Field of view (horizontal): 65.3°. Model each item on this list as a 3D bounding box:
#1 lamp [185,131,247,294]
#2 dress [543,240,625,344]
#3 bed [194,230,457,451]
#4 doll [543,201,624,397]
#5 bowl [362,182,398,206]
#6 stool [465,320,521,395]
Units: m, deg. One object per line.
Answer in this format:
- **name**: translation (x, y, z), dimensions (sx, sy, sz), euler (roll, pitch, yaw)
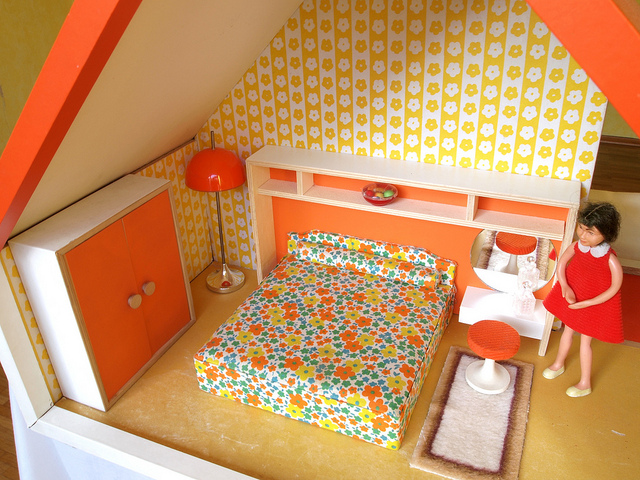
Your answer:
- **lamp**: translation (-0.842, -0.210, 4.495), dimensions (0.507, 1.483, 0.539), euler (-14, 26, -29)
- **dress**: translation (1.862, 0.327, 3.466), dimensions (0.543, 0.673, 0.180), euler (19, -10, -21)
- **bed**: translation (0.107, 0.624, 4.014), dimensions (1.695, 0.635, 1.706), euler (11, 33, 27)
- **doll**: translation (1.820, 0.428, 3.525), dimensions (0.466, 1.376, 0.580), euler (7, 28, 20)
- **bowl**: translation (0.483, -0.373, 4.054), dimensions (0.285, 0.151, 0.221), euler (9, 3, 8)
- **stool**: translation (1.277, 0.877, 3.752), dimensions (0.370, 0.431, 0.376), euler (-9, 24, -18)
